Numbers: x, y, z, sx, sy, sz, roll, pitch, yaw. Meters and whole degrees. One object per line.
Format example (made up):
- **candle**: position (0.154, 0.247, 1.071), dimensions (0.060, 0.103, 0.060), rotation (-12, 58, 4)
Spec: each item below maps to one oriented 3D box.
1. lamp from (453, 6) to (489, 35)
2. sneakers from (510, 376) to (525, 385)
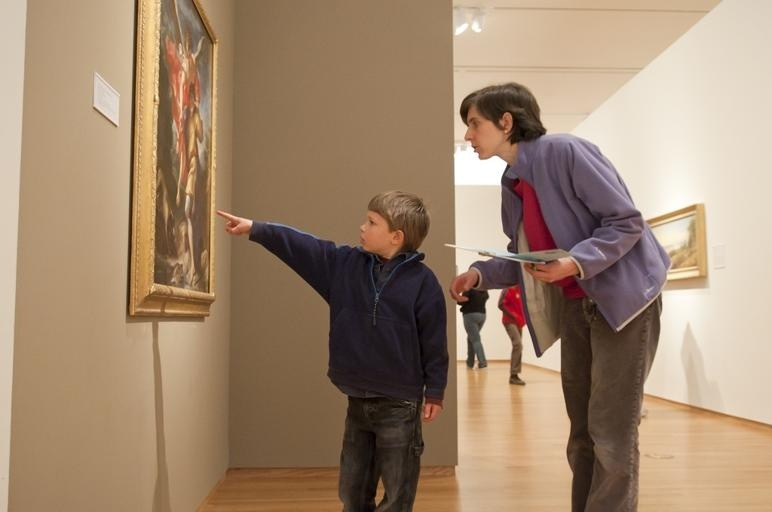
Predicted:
- **lamp**: position (0.700, -2.030, 5.615), dimensions (0.224, 0.128, 0.317), rotation (1, 6, -12)
- **sneakers**: position (1.650, 1.577, 8.106), dimensions (0.205, 0.158, 0.087), rotation (-2, -2, 19)
